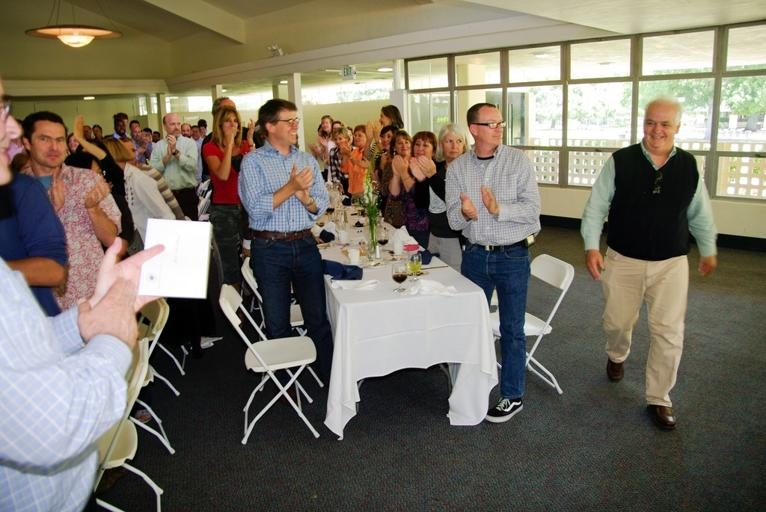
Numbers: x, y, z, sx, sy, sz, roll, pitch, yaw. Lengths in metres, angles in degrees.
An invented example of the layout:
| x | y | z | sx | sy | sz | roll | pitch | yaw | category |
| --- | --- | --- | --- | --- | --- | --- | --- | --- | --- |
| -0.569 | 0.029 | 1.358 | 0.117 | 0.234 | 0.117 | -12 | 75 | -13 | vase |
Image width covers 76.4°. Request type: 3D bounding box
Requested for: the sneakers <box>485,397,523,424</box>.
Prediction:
| x | y | z | sx | sy | sz | roll | pitch | yaw | category |
| --- | --- | --- | --- | --- | --- | --- | --- | --- | --- |
| 0.874 | 1.106 | 3.556 | 0.304 | 0.129 | 0.123 | -4 | 4 | -31 | sneakers |

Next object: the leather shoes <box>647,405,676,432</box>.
| x | y | z | sx | sy | sz | roll | pitch | yaw | category |
| --- | --- | --- | --- | --- | --- | --- | --- | --- | --- |
| 1.937 | 1.114 | 3.388 | 0.098 | 0.097 | 0.224 | -4 | 6 | 0 | leather shoes |

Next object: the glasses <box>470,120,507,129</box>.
| x | y | z | sx | sy | sz | roll | pitch | yaw | category |
| --- | --- | --- | --- | --- | --- | --- | --- | --- | --- |
| 0.741 | -0.938 | 3.459 | 0.231 | 0.048 | 0.125 | -2 | 17 | 0 | glasses |

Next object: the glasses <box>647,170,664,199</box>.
| x | y | z | sx | sy | sz | roll | pitch | yaw | category |
| --- | --- | --- | --- | --- | --- | --- | --- | --- | --- |
| 1.877 | -0.495 | 3.329 | 0.065 | 0.156 | 0.026 | 7 | 20 | 29 | glasses |

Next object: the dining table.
| x | y | z | sx | sy | sz | roll | pitch | yaw | category |
| --- | --- | --- | --- | --- | --- | --- | --- | --- | --- |
| 0.162 | 0.366 | 3.419 | 0.966 | 0.743 | 1.430 | -2 | 15 | -10 | dining table |

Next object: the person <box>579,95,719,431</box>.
| x | y | z | sx | sy | sz | roll | pitch | yaw | category |
| --- | --- | --- | --- | --- | --- | --- | --- | --- | --- |
| 1.859 | 0.001 | 3.490 | 0.815 | 2.159 | 0.698 | 13 | 23 | 40 | person |
